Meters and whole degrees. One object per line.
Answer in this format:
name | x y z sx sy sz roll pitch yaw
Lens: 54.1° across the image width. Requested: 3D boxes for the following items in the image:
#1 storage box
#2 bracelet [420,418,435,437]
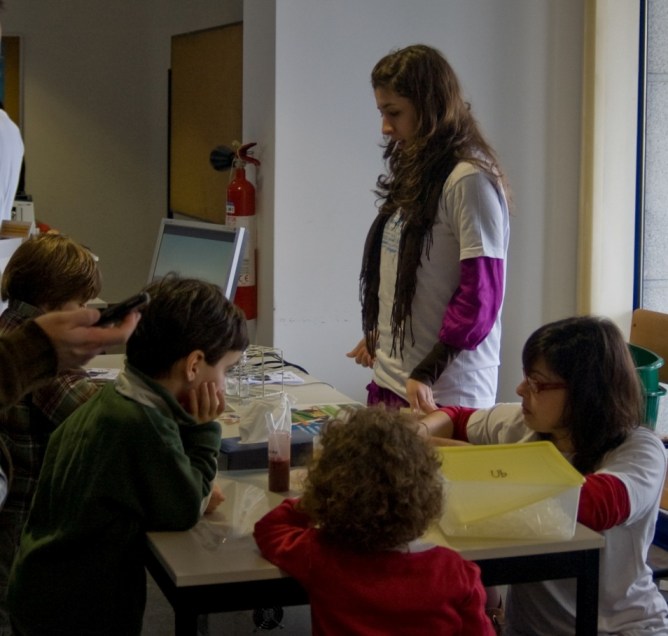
storage box | 0.312 0.318 1.214 0.177 0.093 0.192 0 7 -3
bracelet | 0.236 0.277 1.669 0.029 0.049 0.012 -8 -29 1
